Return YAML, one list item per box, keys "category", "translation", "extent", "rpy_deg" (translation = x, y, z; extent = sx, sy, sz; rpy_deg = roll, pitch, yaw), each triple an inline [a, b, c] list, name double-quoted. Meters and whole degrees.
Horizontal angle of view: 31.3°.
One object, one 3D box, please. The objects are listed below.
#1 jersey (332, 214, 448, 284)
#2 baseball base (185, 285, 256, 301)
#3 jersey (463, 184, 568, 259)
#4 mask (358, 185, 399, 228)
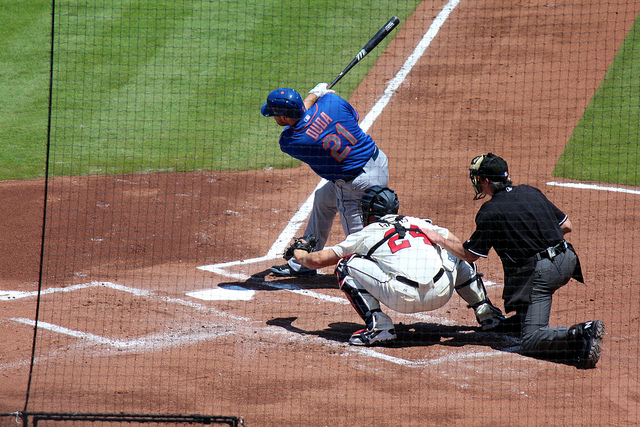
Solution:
- category: "jersey"
  translation: [0.891, 0.475, 14.438]
  extent: [1.113, 0.772, 2.090]
  rpy_deg: [0, 15, -7]
- category: "baseball base"
  translation: [-1.341, 1.120, 15.558]
  extent: [0.883, 0.138, 0.322]
  rpy_deg: [-5, 41, -2]
- category: "jersey"
  translation: [2.469, 0.140, 14.568]
  extent: [1.246, 0.579, 0.567]
  rpy_deg: [-15, 27, 4]
- category: "mask"
  translation: [0.711, -0.088, 14.703]
  extent: [0.541, 0.471, 0.616]
  rpy_deg: [-7, 21, -43]
